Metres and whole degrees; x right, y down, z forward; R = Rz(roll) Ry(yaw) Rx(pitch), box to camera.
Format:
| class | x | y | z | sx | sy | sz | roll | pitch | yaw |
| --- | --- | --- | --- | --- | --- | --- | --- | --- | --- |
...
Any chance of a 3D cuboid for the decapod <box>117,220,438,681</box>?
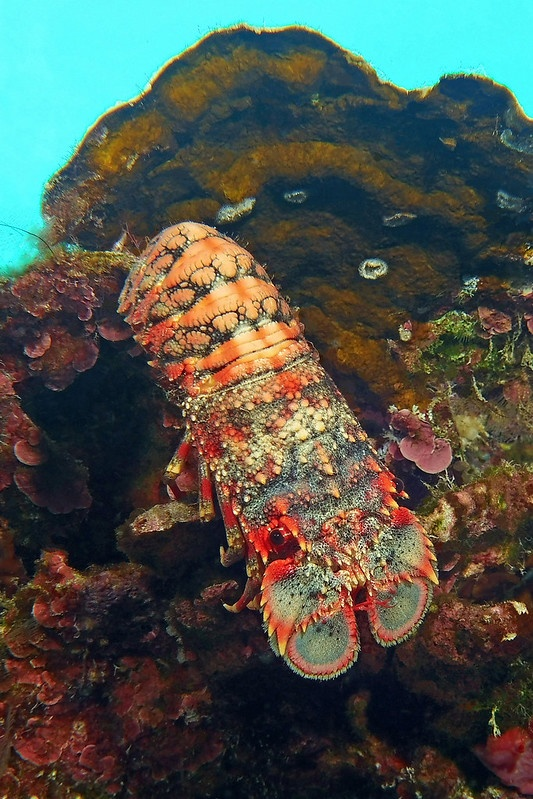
| class | x | y | z | sx | sy | sz | roll | pitch | yaw |
| --- | --- | --- | --- | --- | --- | --- | --- | --- | --- |
| decapod | 0.067 | 0.394 | 7.742 | 2.136 | 3.999 | 0.800 | -5 | -13 | -16 |
